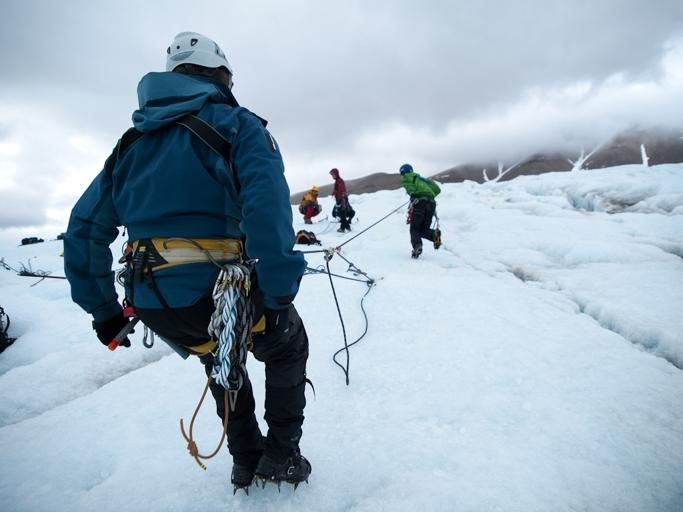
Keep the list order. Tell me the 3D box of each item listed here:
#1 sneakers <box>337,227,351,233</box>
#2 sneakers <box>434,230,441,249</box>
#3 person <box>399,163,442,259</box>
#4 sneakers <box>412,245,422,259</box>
[{"bbox_3d":[0.037,-0.627,10.502,0.298,0.130,0.104,-4,5,34],"label":"sneakers"},{"bbox_3d":[1.529,-0.272,7.145,0.101,0.303,0.138,-1,3,11],"label":"sneakers"},{"bbox_3d":[1.321,-0.708,7.189,0.567,1.347,0.797,-7,7,9],"label":"person"},{"bbox_3d":[1.179,-0.058,6.988,0.121,0.083,0.204,-2,-8,-4],"label":"sneakers"}]
